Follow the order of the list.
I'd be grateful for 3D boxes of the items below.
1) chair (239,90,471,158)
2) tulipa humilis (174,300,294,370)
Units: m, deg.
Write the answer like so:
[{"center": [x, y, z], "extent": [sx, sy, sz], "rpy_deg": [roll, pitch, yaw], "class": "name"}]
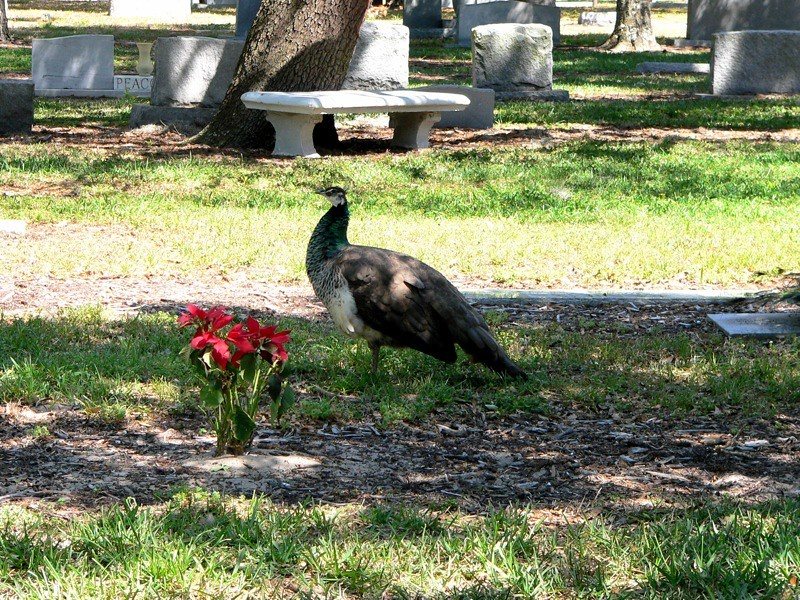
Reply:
[{"center": [-0.599, -2.316, 19.477], "extent": [2.724, 0.957, 1.218], "rpy_deg": [-4, 14, -40], "class": "chair"}, {"center": [-1.233, 0.248, 11.254], "extent": [0.729, 0.315, 0.538], "rpy_deg": [-4, 18, -20], "class": "tulipa humilis"}]
